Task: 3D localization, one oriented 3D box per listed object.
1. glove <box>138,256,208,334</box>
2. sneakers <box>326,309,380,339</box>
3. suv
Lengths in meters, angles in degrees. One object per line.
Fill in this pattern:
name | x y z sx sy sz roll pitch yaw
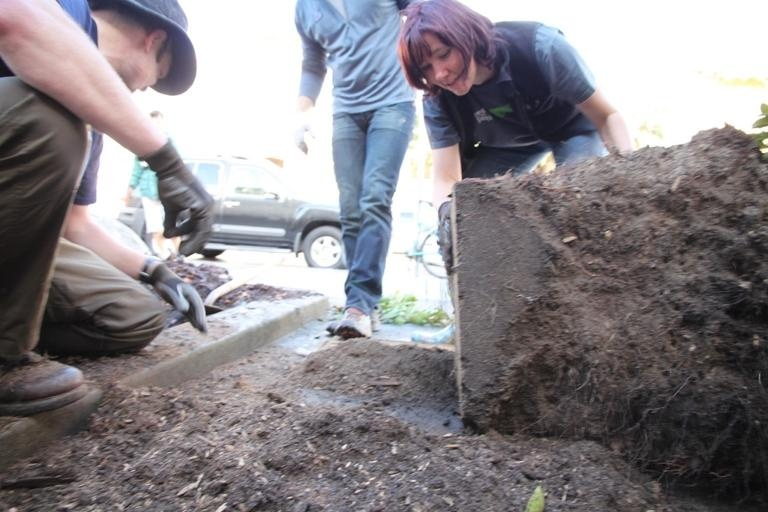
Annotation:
glove | -1.060 0.188 2.587 0.489 0.239 0.157 44 0 24
sneakers | -0.207 0.466 3.304 0.166 0.159 0.387 -12 -15 15
suv | -2.274 -0.834 8.676 3.521 1.367 1.507 0 3 2
